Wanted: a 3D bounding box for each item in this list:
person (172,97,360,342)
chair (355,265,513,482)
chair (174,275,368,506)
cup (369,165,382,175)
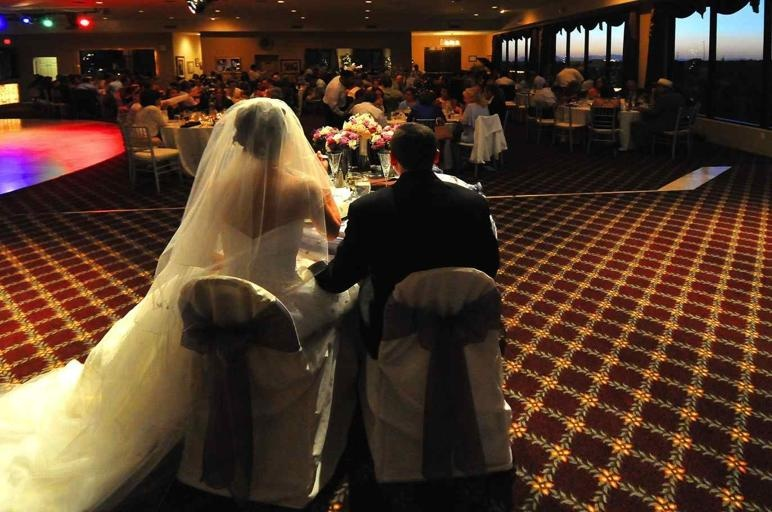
[{"bbox_3d":[-0.686,-0.267,3.099,1.187,1.351,0.916,0,11,-5],"label":"person"},{"bbox_3d":[0.265,0.630,2.797,0.801,1.109,0.396,0,2,1],"label":"chair"},{"bbox_3d":[-0.627,0.547,2.926,0.820,1.201,1.195,4,21,7],"label":"chair"},{"bbox_3d":[-0.095,-0.759,4.401,0.052,0.070,0.175,2,14,6],"label":"cup"}]
